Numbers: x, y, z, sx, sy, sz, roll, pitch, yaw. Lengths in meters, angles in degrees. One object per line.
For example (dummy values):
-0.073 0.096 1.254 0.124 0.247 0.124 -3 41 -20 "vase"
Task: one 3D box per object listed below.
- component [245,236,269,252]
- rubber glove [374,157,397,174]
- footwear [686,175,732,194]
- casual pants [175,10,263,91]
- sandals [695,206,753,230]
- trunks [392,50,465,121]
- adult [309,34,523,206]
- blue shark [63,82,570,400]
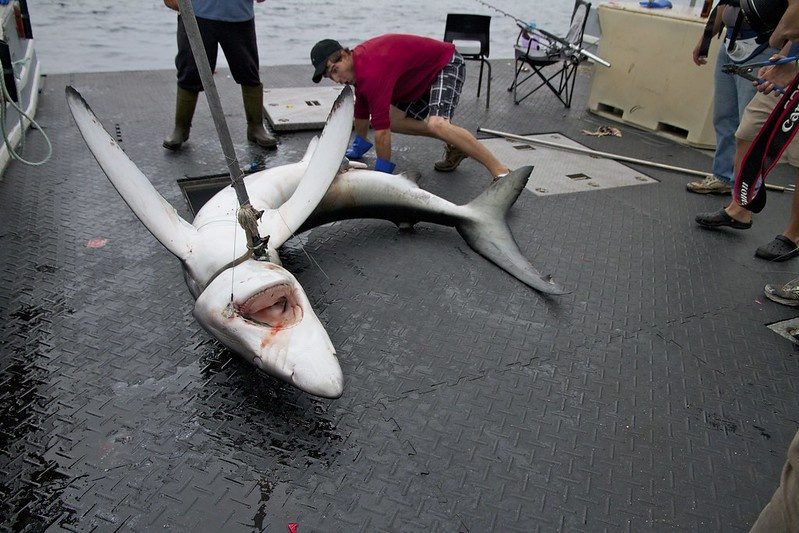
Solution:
-0.863 -0.136 3.447 0.112 0.035 0.085 1 17 36 "component"
-0.137 -0.862 4.887 0.176 0.177 0.181 6 13 -6 "rubber glove"
2.913 -0.764 5.428 0.441 0.190 0.157 4 30 7 "footwear"
-1.748 -2.152 5.504 0.815 0.732 0.289 -10 41 -22 "casual pants"
2.767 -0.435 4.936 0.486 0.180 0.181 3 24 11 "sandals"
0.335 -1.620 5.335 0.730 0.221 0.696 -1 71 44 "trunks"
0.024 -1.383 5.376 1.947 1.401 1.353 -8 49 -15 "adult"
-0.167 -0.703 4.710 3.071 1.841 1.096 32 61 26 "blue shark"
